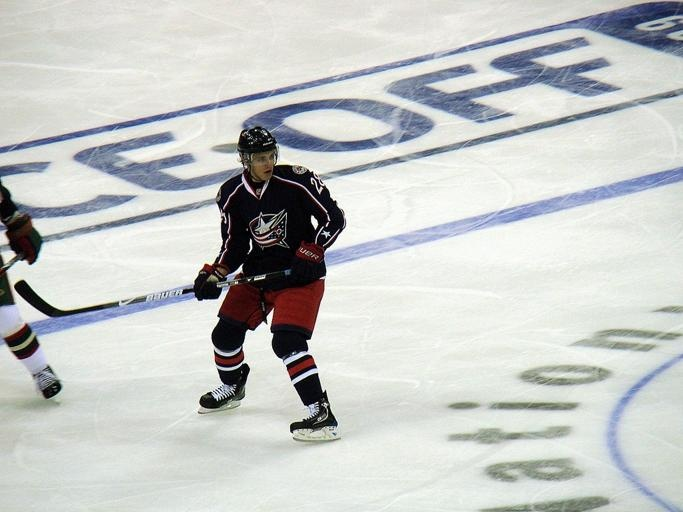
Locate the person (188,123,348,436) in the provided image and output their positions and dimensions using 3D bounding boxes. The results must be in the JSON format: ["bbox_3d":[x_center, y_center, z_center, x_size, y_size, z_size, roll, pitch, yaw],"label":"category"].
[{"bbox_3d":[-0.385,0.101,3.577,0.845,1.427,0.844,-7,23,5],"label":"person"}]

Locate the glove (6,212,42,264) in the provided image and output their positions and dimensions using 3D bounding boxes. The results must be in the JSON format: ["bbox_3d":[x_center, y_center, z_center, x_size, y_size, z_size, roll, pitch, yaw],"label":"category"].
[{"bbox_3d":[-1.616,-0.087,3.857,0.164,0.237,0.188,-23,-24,14],"label":"glove"}]

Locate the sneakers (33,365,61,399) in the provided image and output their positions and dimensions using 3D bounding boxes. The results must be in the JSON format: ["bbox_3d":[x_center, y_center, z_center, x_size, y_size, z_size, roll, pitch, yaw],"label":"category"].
[{"bbox_3d":[-1.489,0.637,3.836,0.115,0.161,0.121,-16,24,-17],"label":"sneakers"}]

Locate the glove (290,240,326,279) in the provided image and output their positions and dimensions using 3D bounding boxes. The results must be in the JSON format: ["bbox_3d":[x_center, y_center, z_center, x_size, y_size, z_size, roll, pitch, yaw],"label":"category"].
[{"bbox_3d":[-0.164,0.029,3.535,0.112,0.171,0.147,4,24,26],"label":"glove"}]

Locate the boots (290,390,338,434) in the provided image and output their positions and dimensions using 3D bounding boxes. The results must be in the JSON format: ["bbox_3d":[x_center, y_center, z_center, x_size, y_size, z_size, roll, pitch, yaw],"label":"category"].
[{"bbox_3d":[-0.143,0.736,3.438,0.205,0.205,0.148,-9,22,-6],"label":"boots"}]
